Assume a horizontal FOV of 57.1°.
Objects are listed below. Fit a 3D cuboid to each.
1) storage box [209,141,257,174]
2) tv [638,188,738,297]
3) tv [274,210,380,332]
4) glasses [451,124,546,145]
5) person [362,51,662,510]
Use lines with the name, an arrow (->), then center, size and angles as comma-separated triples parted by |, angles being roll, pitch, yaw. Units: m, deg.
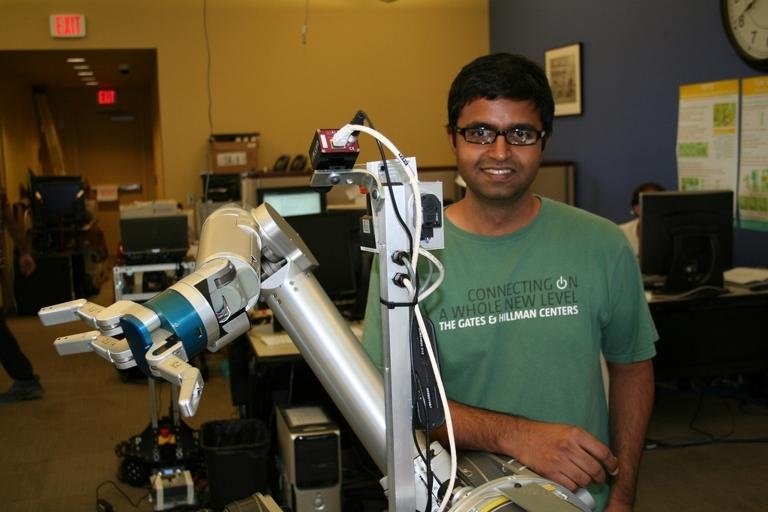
storage box -> -1.646, -1.090, 7.786 | 0.394, 0.288, 0.406 | -1, 0, -12
tv -> 2.119, -0.081, 4.962 | 0.626, 0.715, 0.222 | -2, 12, -5
tv -> -0.280, 0.179, 4.712 | 0.778, 0.873, 0.765 | -5, 5, -5
glasses -> 0.437, -0.463, 2.704 | 0.319, 0.078, 0.058 | 1, 14, 8
person -> 0.627, 0.104, 2.774 | 0.851, 1.740, 0.501 | 4, 15, 21
